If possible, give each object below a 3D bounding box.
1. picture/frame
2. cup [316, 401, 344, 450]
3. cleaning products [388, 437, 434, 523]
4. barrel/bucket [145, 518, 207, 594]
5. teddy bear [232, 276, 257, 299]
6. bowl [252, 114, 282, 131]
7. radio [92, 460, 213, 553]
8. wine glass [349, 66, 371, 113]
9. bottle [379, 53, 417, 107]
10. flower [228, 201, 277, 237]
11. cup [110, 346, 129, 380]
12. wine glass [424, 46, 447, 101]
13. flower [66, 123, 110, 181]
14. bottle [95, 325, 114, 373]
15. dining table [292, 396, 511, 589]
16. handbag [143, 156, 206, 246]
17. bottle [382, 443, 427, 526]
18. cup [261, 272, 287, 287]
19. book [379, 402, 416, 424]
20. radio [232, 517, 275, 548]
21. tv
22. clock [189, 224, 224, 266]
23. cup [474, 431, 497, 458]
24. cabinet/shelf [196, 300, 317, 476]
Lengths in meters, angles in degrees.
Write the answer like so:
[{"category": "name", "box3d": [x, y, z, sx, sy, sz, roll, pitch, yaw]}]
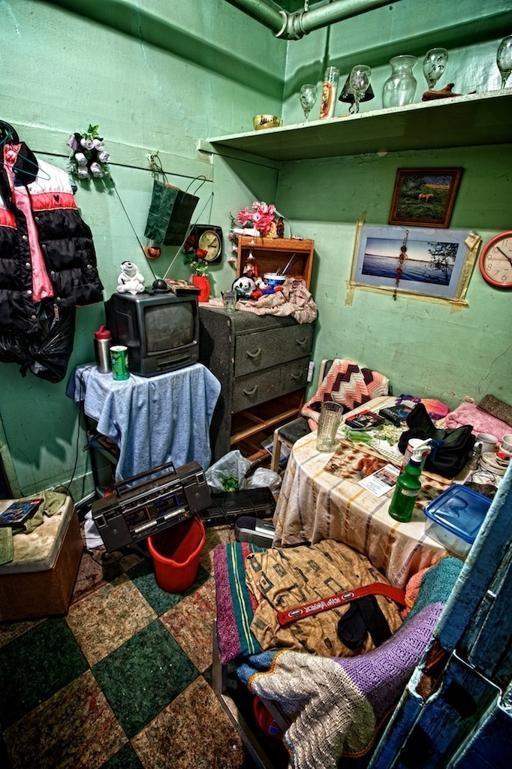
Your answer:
[{"category": "picture/frame", "box3d": [0.870, -0.946, 2.462, 0.025, 0.299, 0.346, -14, 27, -40]}, {"category": "cup", "box3d": [0.305, 0.176, 2.017, 0.103, 0.193, 0.101, 12, 31, -7]}, {"category": "cleaning products", "box3d": [0.499, 0.304, 1.575, 0.101, 0.281, 0.082, 2, 20, -13]}, {"category": "barrel/bucket", "box3d": [-0.360, 0.744, 2.287, 0.260, 0.244, 0.338, 16, 61, -18]}, {"category": "teddy bear", "box3d": [-0.068, -0.579, 2.929, 0.112, 0.140, 0.140, 3, -10, 1]}, {"category": "bowl", "box3d": [0.053, -1.380, 2.624, 0.153, 0.080, 0.149, -1, 24, 0]}, {"category": "radio", "box3d": [-0.452, 0.558, 2.184, 0.405, 0.245, 0.146, -22, 32, -21]}, {"category": "wine glass", "box3d": [0.459, -1.327, 2.217, 0.088, 0.167, 0.216, 9, 22, 6]}, {"category": "bottle", "box3d": [0.594, -1.215, 2.020, 0.124, 0.207, 0.132, 9, 5, -1]}, {"category": "flower", "box3d": [0.017, -0.997, 2.953, 0.320, 0.181, 0.244, -1, 24, -18]}, {"category": "cup", "box3d": [-0.655, -0.117, 2.341, 0.084, 0.159, 0.148, 0, 23, -16]}, {"category": "wine glass", "box3d": [0.719, -1.276, 1.991, 0.082, 0.142, 0.127, 11, 23, 12]}, {"category": "flower", "box3d": [-0.740, -1.031, 2.198, 0.103, 0.228, 0.197, 16, 24, 22]}, {"category": "bottle", "box3d": [-0.755, -0.174, 2.409, 0.071, 0.189, 0.157, -1, 23, -17]}, {"category": "dining table", "box3d": [0.573, 0.347, 1.910, 0.709, 0.402, 0.608, -19, 27, -36]}, {"category": "handbag", "box3d": [-0.442, -0.976, 2.562, 0.171, 0.476, 0.355, 37, 43, 12]}, {"category": "bottle", "box3d": [0.495, 0.307, 1.586, 0.080, 0.256, 0.131, 15, 24, 21]}, {"category": "cup", "box3d": [0.103, -0.637, 3.037, 0.100, 0.072, 0.100, 6, 27, -3]}, {"category": "book", "box3d": [0.642, 0.127, 2.266, 0.116, 0.028, 0.106, -21, 36, -35]}, {"category": "radio", "box3d": [-0.014, 0.693, 2.308, 0.185, 0.062, 0.112, 9, 25, 3]}, {"category": "tv", "box3d": [-0.470, -0.295, 2.513, 0.435, 0.446, 0.453, 27, 33, 33]}, {"category": "clock", "box3d": [-0.303, -0.831, 2.898, 0.090, 0.235, 0.255, 16, 20, 33]}, {"category": "cup", "box3d": [0.870, 0.219, 1.896, 0.079, 0.087, 0.083, -2, 26, 1]}, {"category": "cabinet/shelf", "box3d": [0.030, 0.015, 3.162, 0.636, 1.095, 0.390, -17, 34, -25]}]
